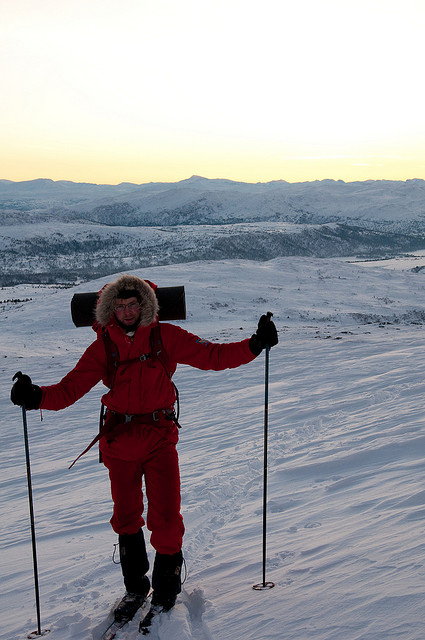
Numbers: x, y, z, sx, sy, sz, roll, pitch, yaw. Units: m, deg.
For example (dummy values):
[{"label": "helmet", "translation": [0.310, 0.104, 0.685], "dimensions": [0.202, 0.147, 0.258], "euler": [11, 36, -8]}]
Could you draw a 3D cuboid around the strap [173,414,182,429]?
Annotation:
[{"label": "strap", "translation": [-0.294, 0.824, 5.960], "dimensions": [0.036, 0.133, 0.206], "euler": [-12, 5, -5]}]

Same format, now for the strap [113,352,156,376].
[{"label": "strap", "translation": [-0.602, 0.339, 5.658], "dimensions": [0.304, 0.062, 0.159], "euler": [-12, 4, -3]}]

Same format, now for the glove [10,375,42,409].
[{"label": "glove", "translation": [-1.463, 0.567, 5.673], "dimensions": [0.224, 0.266, 0.115], "euler": [-5, 7, -11]}]

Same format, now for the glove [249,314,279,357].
[{"label": "glove", "translation": [0.411, 0.116, 6.014], "dimensions": [0.243, 0.220, 0.230], "euler": [-10, 5, 2]}]
